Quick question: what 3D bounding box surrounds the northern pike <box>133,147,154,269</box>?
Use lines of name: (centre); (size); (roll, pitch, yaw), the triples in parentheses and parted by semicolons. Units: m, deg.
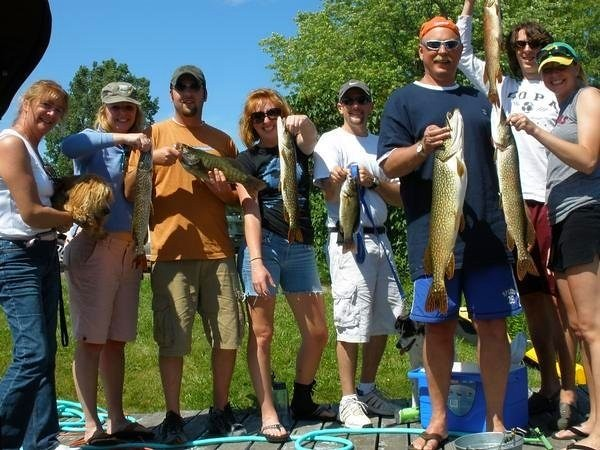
northern pike: (-1.230, -0.128, 4.755); (0.161, 0.857, 0.418); (-2, -5, -18)

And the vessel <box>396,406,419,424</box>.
vessel: (0.860, 1.537, 4.910); (0.155, 0.110, 0.065); (-2, -2, -15)

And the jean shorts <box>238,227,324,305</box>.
jean shorts: (-0.202, 0.288, 5.152); (0.744, 0.815, 0.452); (0, -6, -21)

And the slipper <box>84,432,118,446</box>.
slipper: (-1.500, 1.598, 4.562); (0.232, 0.094, 0.090); (-6, -4, 3)

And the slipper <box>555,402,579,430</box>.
slipper: (2.017, 1.451, 4.638); (0.146, 0.233, 0.270); (4, 12, 19)

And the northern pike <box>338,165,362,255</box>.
northern pike: (0.378, -0.131, 4.974); (0.212, 0.694, 0.185); (4, 4, -5)

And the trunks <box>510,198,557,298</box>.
trunks: (1.837, 0.196, 4.901); (0.248, 0.976, 0.332); (7, -11, -21)

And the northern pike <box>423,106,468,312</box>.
northern pike: (0.979, -0.080, 4.151); (0.144, 1.344, 0.408); (-1, -5, -32)

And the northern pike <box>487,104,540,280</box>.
northern pike: (1.507, -0.208, 4.352); (0.306, 1.374, 0.136); (-8, 6, 8)

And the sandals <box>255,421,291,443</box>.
sandals: (-0.206, 1.605, 4.725); (0.230, 0.147, 0.149); (-5, -4, -1)

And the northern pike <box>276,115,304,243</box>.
northern pike: (-0.084, -0.373, 4.698); (0.256, 1.085, 0.144); (-1, 3, 9)

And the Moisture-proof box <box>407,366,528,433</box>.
Moisture-proof box: (1.336, 1.262, 4.747); (0.611, 0.453, 0.509); (-6, -8, 28)

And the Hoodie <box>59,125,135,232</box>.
Hoodie: (-1.550, -0.339, 4.700); (0.460, 0.748, 0.611); (-16, -8, 10)

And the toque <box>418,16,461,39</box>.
toque: (0.984, -1.447, 4.439); (0.206, 0.123, 0.231); (-3, 12, 3)

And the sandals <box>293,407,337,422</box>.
sandals: (0.113, 1.594, 5.179); (0.338, 0.125, 0.145); (0, -4, 8)

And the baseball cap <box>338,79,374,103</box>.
baseball cap: (0.445, -1.164, 5.357); (0.261, 0.203, 0.381); (0, -3, -1)

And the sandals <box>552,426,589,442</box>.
sandals: (1.965, 1.515, 4.442); (0.214, 0.073, 0.085); (1, -2, 8)

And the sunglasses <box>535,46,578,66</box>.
sunglasses: (1.869, -1.249, 4.425); (0.140, 0.131, 0.224); (-3, 0, 34)

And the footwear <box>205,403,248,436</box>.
footwear: (-0.623, 1.575, 4.992); (0.396, 0.285, 0.150); (-9, -9, 33)

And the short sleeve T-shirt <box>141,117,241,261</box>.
short sleeve T-shirt: (-0.897, -0.265, 4.815); (0.962, 1.290, 0.413); (0, -7, -25)
